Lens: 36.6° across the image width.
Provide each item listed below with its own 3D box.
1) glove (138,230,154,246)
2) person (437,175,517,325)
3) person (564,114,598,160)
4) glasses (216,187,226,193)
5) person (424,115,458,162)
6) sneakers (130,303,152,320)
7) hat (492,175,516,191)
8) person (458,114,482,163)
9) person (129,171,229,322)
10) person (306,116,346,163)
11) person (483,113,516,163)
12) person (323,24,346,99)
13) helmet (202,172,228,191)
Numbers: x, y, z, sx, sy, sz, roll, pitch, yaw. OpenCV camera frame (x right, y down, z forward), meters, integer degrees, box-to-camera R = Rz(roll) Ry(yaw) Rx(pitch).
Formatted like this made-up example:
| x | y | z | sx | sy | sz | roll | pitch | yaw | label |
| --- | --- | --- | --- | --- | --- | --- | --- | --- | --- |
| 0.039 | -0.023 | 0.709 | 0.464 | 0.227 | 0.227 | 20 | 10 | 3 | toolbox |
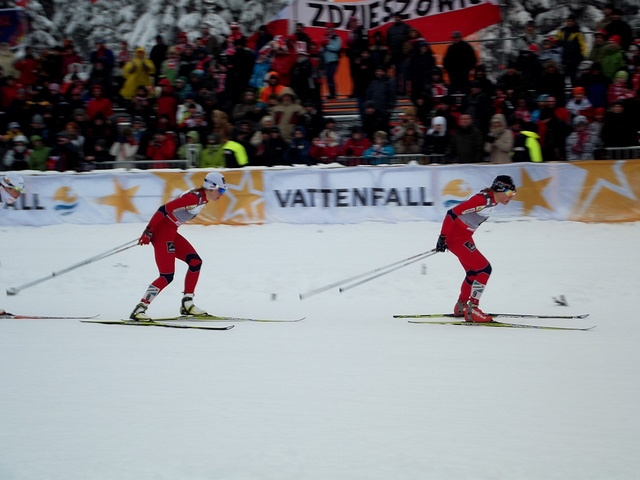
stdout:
| x | y | z | sx | sy | sz | roll | pitch | yaw | label |
| --- | --- | --- | --- | --- | --- | --- | --- | --- | --- |
| -2.514 | -0.026 | 13.983 | 0.245 | 0.198 | 0.067 | 25 | -6 | 9 | glove |
| 2.217 | 0.104 | 14.018 | 0.914 | 2.096 | 0.821 | 11 | 24 | 35 | person |
| 4.708 | -1.819 | 17.347 | 0.569 | 0.813 | 0.162 | 0 | 21 | 10 | person |
| -1.442 | -0.715 | 14.011 | 0.121 | 0.090 | 0.095 | 5 | 2 | 7 | glasses |
| 2.154 | -1.848 | 17.779 | 0.565 | 0.875 | 0.250 | 10 | 25 | 34 | person |
| -2.620 | 1.039 | 14.090 | 0.302 | 0.263 | 0.184 | -5 | 19 | -8 | sneakers |
| 2.642 | -0.814 | 13.791 | 0.327 | 0.209 | 0.211 | -9 | 9 | 21 | hat |
| 2.713 | -1.793 | 17.492 | 0.402 | 0.801 | 0.242 | -10 | 21 | -16 | person |
| -2.103 | 0.072 | 14.146 | 1.619 | 2.108 | 0.708 | -10 | 21 | -19 | person |
| 0.100 | -1.831 | 18.087 | 0.715 | 0.745 | 0.370 | 0 | 0 | 2 | person |
| 3.209 | -1.811 | 17.389 | 0.493 | 0.876 | 0.217 | -1 | 21 | 9 | person |
| 0.251 | -3.437 | 19.234 | 0.408 | 1.315 | 0.403 | -3 | 20 | 2 | person |
| -1.518 | -0.862 | 14.007 | 0.359 | 0.211 | 0.227 | 2 | 19 | -4 | helmet |
